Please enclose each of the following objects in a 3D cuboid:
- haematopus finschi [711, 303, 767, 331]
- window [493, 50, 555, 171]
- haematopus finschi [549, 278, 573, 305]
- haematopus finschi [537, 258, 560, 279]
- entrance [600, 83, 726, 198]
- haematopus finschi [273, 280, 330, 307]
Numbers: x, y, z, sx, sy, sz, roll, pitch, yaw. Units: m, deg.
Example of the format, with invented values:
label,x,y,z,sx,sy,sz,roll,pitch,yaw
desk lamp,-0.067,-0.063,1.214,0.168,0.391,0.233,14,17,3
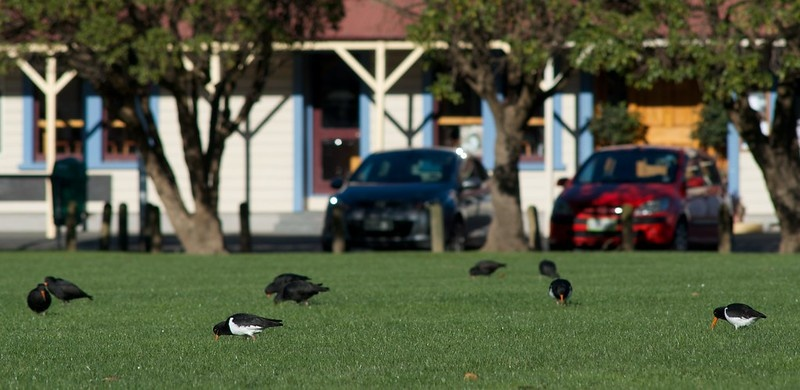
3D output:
label,x,y,z,sx,sy,sz,roll,pitch,yaw
haematopus finschi,9.167,3.350,54.148,1.568,0.801,0.655,-4,-6,25
window,3.920,-2.853,64.344,3.496,3.947,1.815,1,3,5
haematopus finschi,4.423,2.716,55.384,0.612,0.689,0.434,-1,-3,4
haematopus finschi,4.262,2.180,57.718,0.367,0.701,0.455,-24,-18,7
entrance,8.265,-1.802,64.115,3.311,4.445,0.282,-2,3,2
haematopus finschi,-2.857,2.757,55.716,1.403,0.650,0.686,-1,-3,-5
